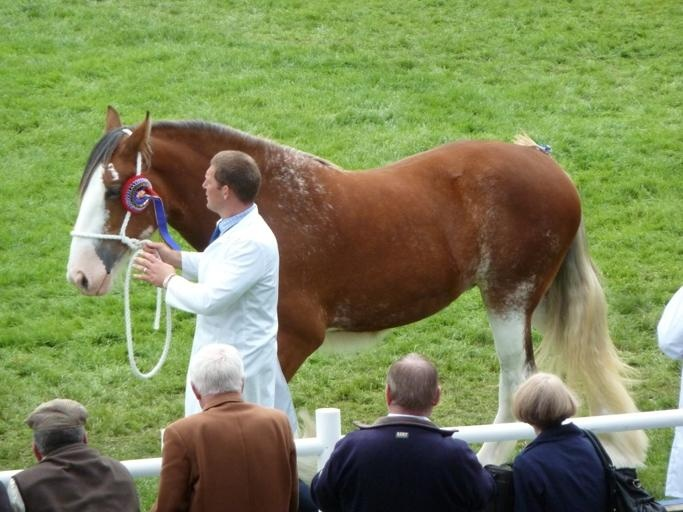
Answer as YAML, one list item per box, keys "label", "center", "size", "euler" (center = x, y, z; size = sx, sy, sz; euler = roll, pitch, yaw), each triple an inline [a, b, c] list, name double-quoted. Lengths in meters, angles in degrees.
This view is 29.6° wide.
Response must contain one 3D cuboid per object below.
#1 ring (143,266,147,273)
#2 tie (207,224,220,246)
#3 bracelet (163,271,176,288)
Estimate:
- label: "ring"
  center: [-1.652, 0.113, 10.960]
  size: [0.036, 0.031, 0.009]
  euler: [15, 26, 11]
- label: "tie"
  center: [-1.099, -0.190, 11.266]
  size: [0.043, 0.180, 0.102]
  euler: [28, 2, -1]
- label: "bracelet"
  center: [-1.450, 0.197, 10.919]
  size: [0.036, 0.114, 0.130]
  euler: [32, 29, 21]
